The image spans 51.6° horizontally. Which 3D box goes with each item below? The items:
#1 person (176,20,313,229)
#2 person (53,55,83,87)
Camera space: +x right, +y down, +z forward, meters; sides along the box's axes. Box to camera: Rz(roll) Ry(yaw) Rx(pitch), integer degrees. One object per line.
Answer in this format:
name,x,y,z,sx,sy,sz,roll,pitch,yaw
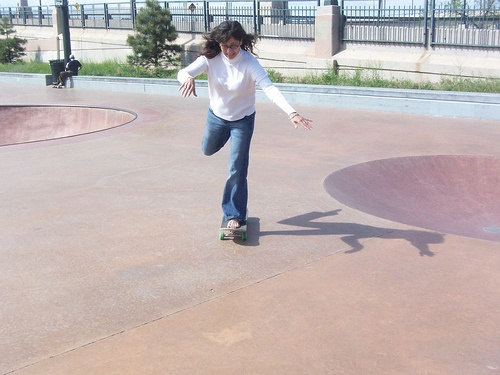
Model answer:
person,-0.136,-0.540,4.627,1.015,1.811,0.619,0,14,2
person,-6.052,-3.889,17.172,0.751,1.078,0.865,6,15,24
